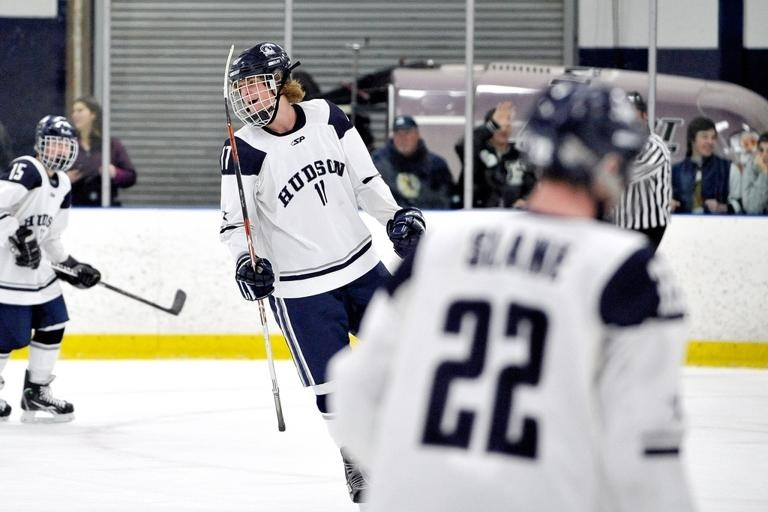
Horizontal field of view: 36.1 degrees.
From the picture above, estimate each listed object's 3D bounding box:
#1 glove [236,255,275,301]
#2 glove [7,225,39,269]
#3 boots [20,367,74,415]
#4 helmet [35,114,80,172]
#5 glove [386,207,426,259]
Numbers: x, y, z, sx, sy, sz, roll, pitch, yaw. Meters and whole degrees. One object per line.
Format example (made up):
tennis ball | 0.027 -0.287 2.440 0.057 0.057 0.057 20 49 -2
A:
glove | -0.665 0.111 5.989 0.204 0.252 0.199 -1 11 -1
glove | -2.300 -0.046 7.476 0.186 0.274 0.117 -5 12 -24
boots | -2.174 0.881 7.529 0.363 0.267 0.190 1 11 6
helmet | -2.157 -0.744 7.696 0.249 0.335 0.329 5 11 -43
glove | 0.114 -0.127 5.966 0.188 0.245 0.102 42 -1 16
